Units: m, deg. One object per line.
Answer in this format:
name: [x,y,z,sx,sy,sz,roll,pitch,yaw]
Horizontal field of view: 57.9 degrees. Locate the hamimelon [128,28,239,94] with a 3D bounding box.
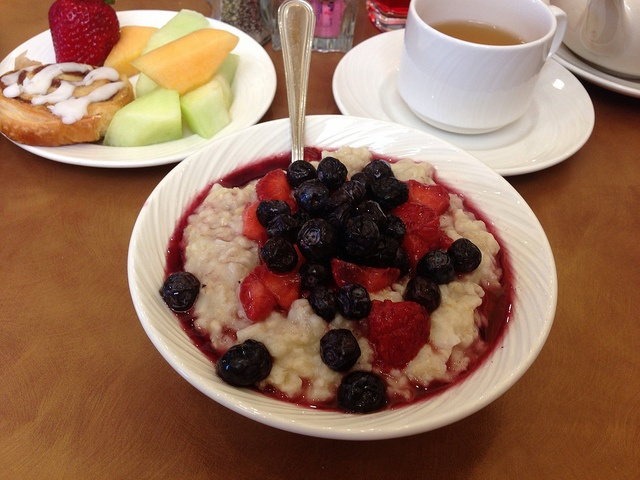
hamimelon: [-0.590,-0.792,2.459,0.431,0.262,0.303,-26,40,-36]
